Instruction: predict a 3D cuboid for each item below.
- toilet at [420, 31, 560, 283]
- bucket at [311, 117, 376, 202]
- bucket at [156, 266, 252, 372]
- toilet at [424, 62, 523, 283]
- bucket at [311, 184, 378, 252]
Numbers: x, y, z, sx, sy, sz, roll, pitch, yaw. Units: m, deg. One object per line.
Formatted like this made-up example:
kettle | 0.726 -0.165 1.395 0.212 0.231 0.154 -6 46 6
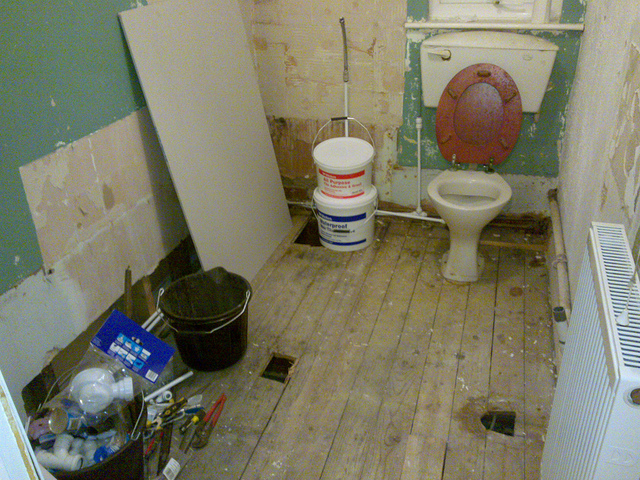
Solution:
toilet | 0.968 -0.537 3.039 0.787 1.265 0.789 9 39 21
bucket | 0.168 -0.479 3.257 0.412 0.295 0.353 -25 40 -23
bucket | -0.573 0.421 2.586 0.455 0.441 0.397 -8 36 -1
toilet | 0.929 -0.443 3.053 0.593 1.123 0.802 9 39 21
bucket | 0.188 -0.194 3.422 0.457 0.408 0.433 -3 33 2
